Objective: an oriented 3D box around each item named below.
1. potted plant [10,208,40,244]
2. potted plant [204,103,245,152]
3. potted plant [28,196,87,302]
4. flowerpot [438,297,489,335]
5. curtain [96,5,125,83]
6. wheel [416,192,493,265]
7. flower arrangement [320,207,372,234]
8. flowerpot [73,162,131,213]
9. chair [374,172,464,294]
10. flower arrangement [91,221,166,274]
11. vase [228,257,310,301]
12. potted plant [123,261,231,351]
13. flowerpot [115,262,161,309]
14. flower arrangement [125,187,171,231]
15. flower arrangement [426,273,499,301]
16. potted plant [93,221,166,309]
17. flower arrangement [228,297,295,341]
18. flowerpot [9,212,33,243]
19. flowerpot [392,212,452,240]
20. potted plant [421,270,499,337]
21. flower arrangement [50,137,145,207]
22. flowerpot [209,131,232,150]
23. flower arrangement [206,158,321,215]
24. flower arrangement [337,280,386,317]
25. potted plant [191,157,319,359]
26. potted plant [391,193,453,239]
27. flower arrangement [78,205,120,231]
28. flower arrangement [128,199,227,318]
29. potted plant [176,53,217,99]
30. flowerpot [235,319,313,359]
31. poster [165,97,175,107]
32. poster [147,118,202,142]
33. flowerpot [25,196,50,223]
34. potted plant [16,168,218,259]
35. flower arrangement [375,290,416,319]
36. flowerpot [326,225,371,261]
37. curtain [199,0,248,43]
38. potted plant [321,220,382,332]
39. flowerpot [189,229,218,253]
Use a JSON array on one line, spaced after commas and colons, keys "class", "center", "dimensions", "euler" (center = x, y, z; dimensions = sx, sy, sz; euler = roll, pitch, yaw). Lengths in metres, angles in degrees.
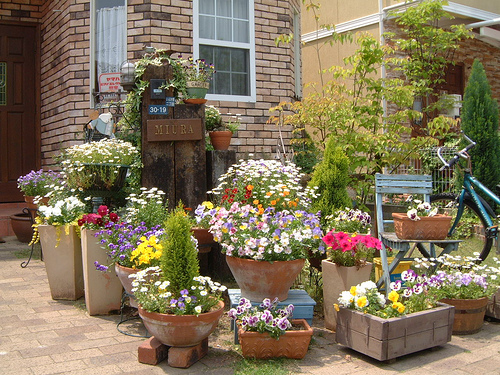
[{"class": "potted plant", "center": [-3.855, 0.635, 8.955], "dimensions": [0.517, 0.621, 0.541], "euler": [9, -2, -33]}, {"class": "potted plant", "center": [-0.377, -0.839, 7.465], "dimensions": [0.657, 0.675, 0.421], "euler": [-2, -4, -13]}, {"class": "potted plant", "center": [-2.245, 0.775, 6.319], "dimensions": [0.518, 1.180, 0.835], "euler": [-11, 18, -41]}, {"class": "flowerpot", "center": [2.351, 1.399, 5.680], "dimensions": [0.443, 0.297, 0.429], "euler": [2, -7, -15]}, {"class": "curtain", "center": [-2.508, -2.571, 9.267], "dimensions": [0.582, 1.328, 0.356], "euler": [1, 13, 0]}, {"class": "wheel", "center": [3.581, 0.704, 8.842], "dimensions": [1.146, 0.469, 1.786], "euler": [-3, 10, 1]}, {"class": "flower arrangement", "center": [1.136, 0.455, 6.307], "dimensions": [0.683, 0.355, 0.563], "euler": [10, -1, 17]}, {"class": "flowerpot", "center": [-1.736, 0.004, 6.520], "dimensions": [0.654, 0.801, 0.611], "euler": [3, -6, -4]}, {"class": "chair", "center": [2.126, 0.280, 6.585], "dimensions": [0.754, 0.889, 1.284], "euler": [14, 4, 35]}, {"class": "flower arrangement", "center": [-1.256, 0.630, 5.548], "dimensions": [0.679, 0.414, 0.595], "euler": [0, -10, -12]}, {"class": "vase", "center": [0.187, 0.942, 5.415], "dimensions": [0.537, 0.269, 0.546], "euler": [2, -4, -2]}, {"class": "potted plant", "center": [-0.718, 1.070, 5.163], "dimensions": [0.902, 0.634, 0.922], "euler": [2, -3, 0]}, {"class": "flowerpot", "center": [-1.192, 1.007, 5.463], "dimensions": [0.451, 0.383, 0.492], "euler": [3, -8, 0]}, {"class": "flower arrangement", "center": [-1.326, 0.332, 6.150], "dimensions": [0.422, 0.545, 0.535], "euler": [-16, -1, 32]}, {"class": "flower arrangement", "center": [2.283, 1.095, 5.639], "dimensions": [0.452, 0.157, 0.361], "euler": [0, -3, -1]}, {"class": "potted plant", "center": [-1.332, 0.921, 5.630], "dimensions": [0.521, 0.701, 0.622], "euler": [10, 7, 14]}, {"class": "flower arrangement", "center": [0.202, 1.297, 5.123], "dimensions": [0.430, 0.191, 0.492], "euler": [0, 10, 1]}, {"class": "flowerpot", "center": [-3.858, 0.659, 8.893], "dimensions": [0.490, 0.467, 0.498], "euler": [2, 5, -3]}, {"class": "flowerpot", "center": [1.925, 0.412, 5.763], "dimensions": [0.465, 0.215, 0.333], "euler": [0, 1, -4]}, {"class": "potted plant", "center": [2.360, 1.268, 5.666], "dimensions": [0.711, 0.451, 0.638], "euler": [4, -5, -38]}, {"class": "flower arrangement", "center": [-1.910, -0.239, 6.670], "dimensions": [0.979, 0.966, 0.866], "euler": [0, 2, -6]}, {"class": "flowerpot", "center": [-0.409, -0.658, 7.184], "dimensions": [0.260, 0.205, 0.265], "euler": [0, 2, 3]}, {"class": "flower arrangement", "center": [-0.018, 0.058, 6.218], "dimensions": [0.811, 0.585, 0.963], "euler": [16, -23, -22]}, {"class": "flower arrangement", "center": [1.179, 1.130, 5.261], "dimensions": [0.357, 0.360, 0.258], "euler": [7, -25, -1]}, {"class": "potted plant", "center": [0.268, 0.646, 5.616], "dimensions": [0.967, 1.770, 1.150], "euler": [4, -3, -8]}, {"class": "potted plant", "center": [2.080, 0.410, 6.091], "dimensions": [0.610, 0.456, 0.947], "euler": [1, -2, 11]}, {"class": "flower arrangement", "center": [-1.749, 0.338, 5.917], "dimensions": [0.270, 0.221, 0.345], "euler": [-1, 1, -15]}, {"class": "flower arrangement", "center": [-0.527, 0.655, 5.353], "dimensions": [1.059, 1.152, 1.005], "euler": [3, -3, 5]}, {"class": "potted plant", "center": [-0.732, -1.493, 7.202], "dimensions": [0.568, 0.612, 0.442], "euler": [1, -4, 4]}, {"class": "flowerpot", "center": [0.186, 1.590, 5.290], "dimensions": [0.744, 0.301, 0.491], "euler": [13, -11, -29]}, {"class": "poster", "center": [-1.040, -1.112, 6.681], "dimensions": [0.116, 0.117, 0.056], "euler": [1, 10, -5]}, {"class": "poster", "center": [-0.968, -0.740, 6.658], "dimensions": [0.699, 0.268, 0.090], "euler": [-1, 13, -10]}, {"class": "flowerpot", "center": [-3.082, 0.314, 7.474], "dimensions": [0.456, 0.354, 0.467], "euler": [2, 1, 11]}, {"class": "potted plant", "center": [-1.514, 0.316, 6.251], "dimensions": [0.710, 0.774, 3.089], "euler": [3, 11, -37]}, {"class": "flower arrangement", "center": [1.488, 1.216, 5.264], "dimensions": [0.307, 0.161, 0.310], "euler": [14, -28, -15]}, {"class": "flowerpot", "center": [1.099, 0.613, 5.742], "dimensions": [0.363, 0.292, 0.385], "euler": [4, -5, -45]}, {"class": "curtain", "center": [-0.536, -3.118, 9.694], "dimensions": [0.921, 0.962, 0.026], "euler": [0, 5, -15]}, {"class": "potted plant", "center": [1.035, 1.015, 5.723], "dimensions": [0.513, 1.059, 0.613], "euler": [1, -2, 0]}, {"class": "flowerpot", "center": [-0.592, 0.619, 6.360], "dimensions": [0.336, 0.235, 0.336], "euler": [9, 5, -39]}]
